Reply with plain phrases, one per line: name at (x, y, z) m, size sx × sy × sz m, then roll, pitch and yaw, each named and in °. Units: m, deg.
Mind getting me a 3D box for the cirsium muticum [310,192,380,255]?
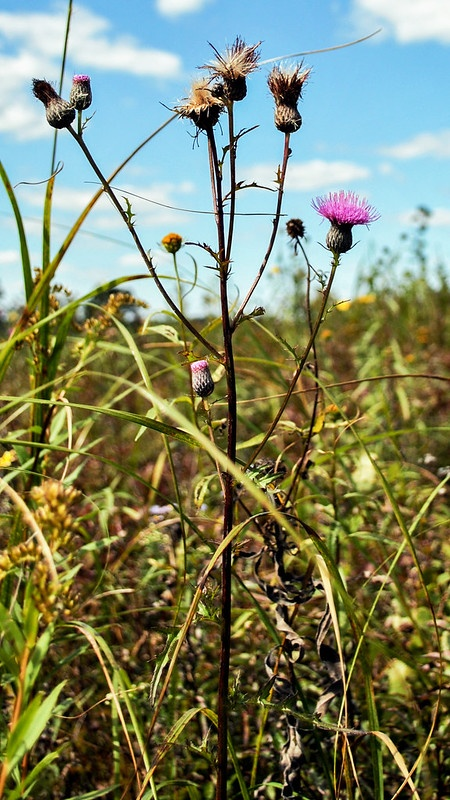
cirsium muticum at (0.284, -0.436, 1.927) m, size 0.150 × 0.168 × 0.140 m, roll 3°, pitch 8°, yaw -44°
